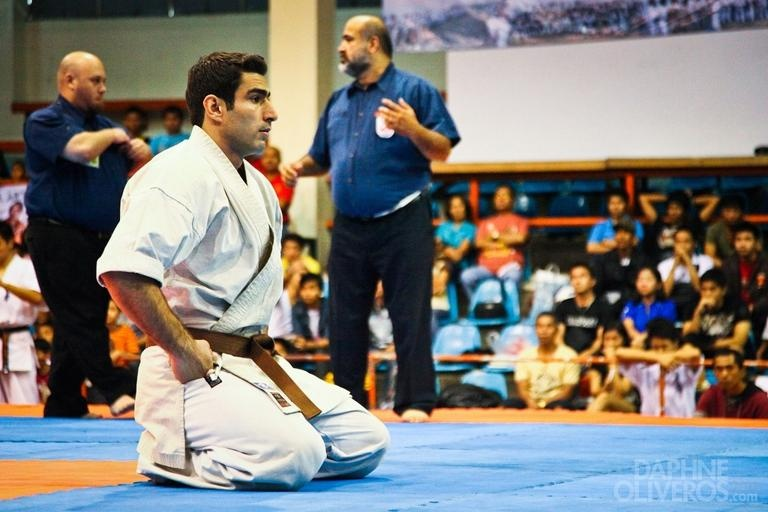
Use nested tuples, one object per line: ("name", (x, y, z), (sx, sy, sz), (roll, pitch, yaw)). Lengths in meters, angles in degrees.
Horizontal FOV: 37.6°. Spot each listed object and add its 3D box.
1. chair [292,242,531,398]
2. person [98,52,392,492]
("chair", (0.408, 0.580, 9.978), (1.335, 1.656, 1.407), (-1, -11, 7))
("person", (-0.924, 0.060, 6.182), (1.121, 2.330, 0.690), (-1, 8, -3))
